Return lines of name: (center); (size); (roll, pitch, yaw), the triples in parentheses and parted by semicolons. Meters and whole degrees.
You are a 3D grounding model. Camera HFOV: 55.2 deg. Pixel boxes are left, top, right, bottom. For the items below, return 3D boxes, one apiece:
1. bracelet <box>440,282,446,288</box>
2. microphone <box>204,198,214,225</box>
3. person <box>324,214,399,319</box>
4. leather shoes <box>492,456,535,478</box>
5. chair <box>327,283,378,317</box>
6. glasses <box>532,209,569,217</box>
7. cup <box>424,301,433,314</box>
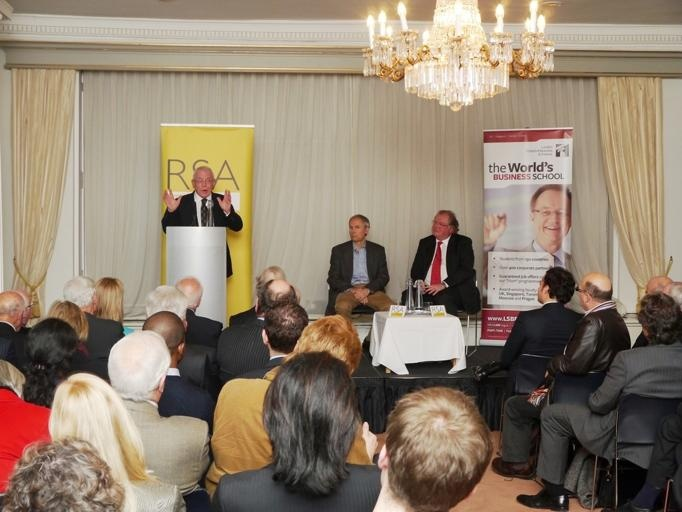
bracelet: (1.067, 0.305, 6.777); (0.034, 0.053, 0.021); (-4, -36, -3)
microphone: (-1.376, -0.448, 6.806); (0.063, 0.307, 0.077); (1, 4, -19)
person: (0.190, 0.314, 6.917); (0.664, 1.529, 0.996); (1, 1, 0)
leather shoes: (1.195, 1.446, 4.558); (0.240, 0.124, 0.125); (4, 3, 19)
chair: (0.047, 0.497, 6.909); (0.311, 0.304, 0.337); (1, -11, -3)
glasses: (2.230, -0.456, 6.938); (0.351, 0.070, 0.021); (3, 3, 4)
cup: (0.730, 0.445, 5.490); (0.075, 0.086, 0.152); (1, 35, 1)
